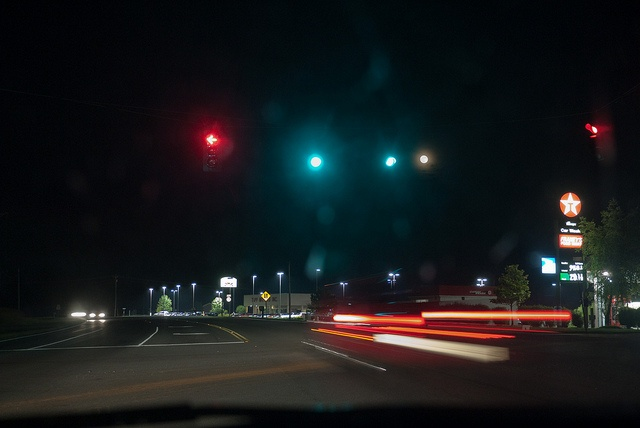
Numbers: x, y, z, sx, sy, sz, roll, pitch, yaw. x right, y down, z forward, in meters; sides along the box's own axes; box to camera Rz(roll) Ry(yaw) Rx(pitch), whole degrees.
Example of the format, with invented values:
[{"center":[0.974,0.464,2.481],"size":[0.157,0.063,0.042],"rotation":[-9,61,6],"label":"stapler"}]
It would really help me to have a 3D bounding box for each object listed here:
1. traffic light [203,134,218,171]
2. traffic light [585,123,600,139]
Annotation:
[{"center":[-3.985,-2.344,20.117],"size":[0.652,0.165,1.766],"rotation":[-6,-39,-20],"label":"traffic light"},{"center":[10.316,-3.192,20.709],"size":[0.588,0.619,0.366],"rotation":[7,-15,-22],"label":"traffic light"}]
